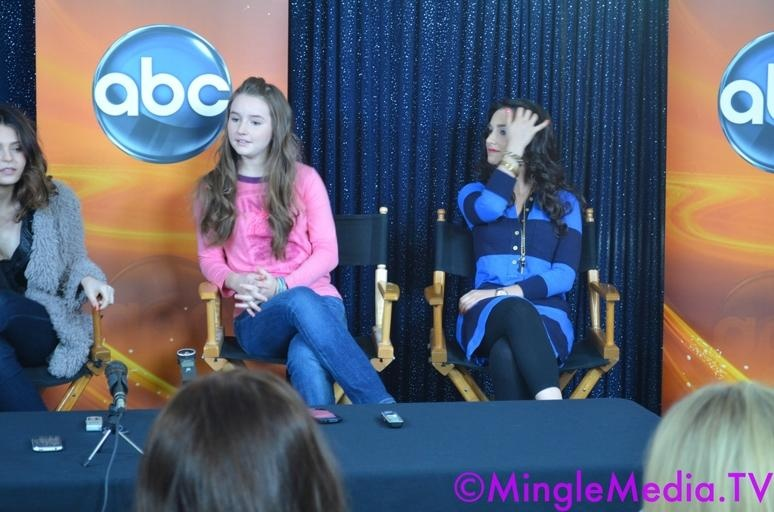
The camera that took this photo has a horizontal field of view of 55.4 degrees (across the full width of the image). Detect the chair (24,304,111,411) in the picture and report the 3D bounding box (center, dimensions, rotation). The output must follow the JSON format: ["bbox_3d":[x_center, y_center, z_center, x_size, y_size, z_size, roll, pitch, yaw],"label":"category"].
[{"bbox_3d":[-1.312,0.451,3.118,0.346,0.427,0.338,-20,13,-41],"label":"chair"}]

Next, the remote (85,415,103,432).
[{"bbox_3d":[-0.854,0.487,2.158,0.039,0.016,0.042,3,37,-10],"label":"remote"}]

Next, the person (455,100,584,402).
[{"bbox_3d":[0.547,-0.066,3.172,0.561,1.253,0.778,1,5,15],"label":"person"}]

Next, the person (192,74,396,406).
[{"bbox_3d":[-0.398,-0.124,3.049,0.534,1.275,0.865,-4,6,-34],"label":"person"}]

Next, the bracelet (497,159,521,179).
[{"bbox_3d":[0.551,-0.391,3.333,0.073,0.057,0.091,4,2,-1],"label":"bracelet"}]

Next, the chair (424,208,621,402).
[{"bbox_3d":[0.573,0.179,3.571,0.851,1.068,0.897,0,-3,1],"label":"chair"}]

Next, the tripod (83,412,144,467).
[{"bbox_3d":[-0.766,0.503,2.092,0.150,0.179,0.131,3,-3,21],"label":"tripod"}]

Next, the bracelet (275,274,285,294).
[{"bbox_3d":[-0.439,0.121,3.057,0.054,0.058,0.059,1,-9,-5],"label":"bracelet"}]

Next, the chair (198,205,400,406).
[{"bbox_3d":[-0.363,0.315,3.329,0.848,1.056,0.960,0,8,-10],"label":"chair"}]
